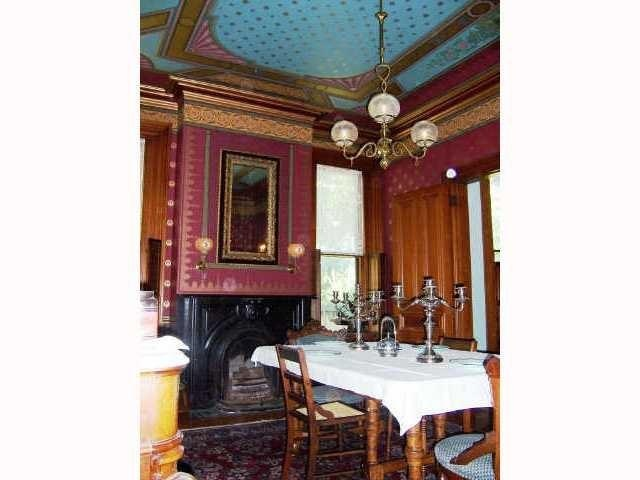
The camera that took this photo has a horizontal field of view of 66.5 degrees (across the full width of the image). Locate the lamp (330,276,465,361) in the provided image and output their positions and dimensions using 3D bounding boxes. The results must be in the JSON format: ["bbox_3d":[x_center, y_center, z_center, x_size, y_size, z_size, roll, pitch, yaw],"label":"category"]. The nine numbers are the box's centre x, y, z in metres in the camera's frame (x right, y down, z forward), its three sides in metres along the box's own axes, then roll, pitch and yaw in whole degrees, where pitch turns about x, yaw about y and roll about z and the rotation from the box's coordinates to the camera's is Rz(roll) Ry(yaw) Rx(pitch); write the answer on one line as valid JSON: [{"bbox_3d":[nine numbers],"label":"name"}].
[{"bbox_3d":[0.728,0.725,4.452,1.115,0.533,0.499,-8,-14,39],"label":"lamp"}]

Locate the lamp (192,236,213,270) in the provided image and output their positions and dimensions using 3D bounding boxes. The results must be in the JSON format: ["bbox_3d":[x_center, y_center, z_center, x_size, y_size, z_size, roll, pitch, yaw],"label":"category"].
[{"bbox_3d":[-1.272,0.142,5.350,0.192,0.356,0.114,0,-8,-15],"label":"lamp"}]

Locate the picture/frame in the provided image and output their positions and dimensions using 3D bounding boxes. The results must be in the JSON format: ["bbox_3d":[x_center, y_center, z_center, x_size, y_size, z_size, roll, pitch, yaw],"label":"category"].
[{"bbox_3d":[-0.828,-0.370,5.677,0.723,1.292,0.108,2,-9,-32],"label":"picture/frame"}]

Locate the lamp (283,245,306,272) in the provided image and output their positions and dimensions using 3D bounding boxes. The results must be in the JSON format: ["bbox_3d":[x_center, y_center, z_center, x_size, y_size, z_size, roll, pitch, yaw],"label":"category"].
[{"bbox_3d":[-0.294,0.209,5.850,0.261,0.357,0.099,4,-9,-39],"label":"lamp"}]

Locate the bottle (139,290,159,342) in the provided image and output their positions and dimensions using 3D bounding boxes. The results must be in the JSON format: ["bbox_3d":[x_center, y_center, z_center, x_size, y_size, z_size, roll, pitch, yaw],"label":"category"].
[{"bbox_3d":[-0.537,0.233,1.537,0.045,0.142,0.186,0,-7,-17],"label":"bottle"}]
